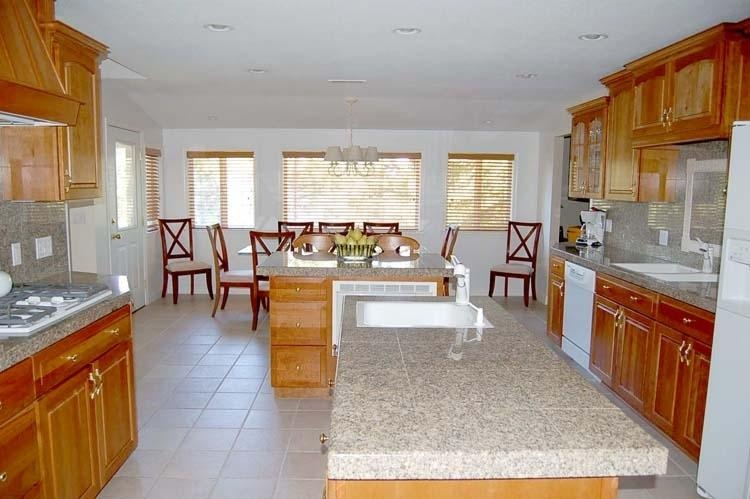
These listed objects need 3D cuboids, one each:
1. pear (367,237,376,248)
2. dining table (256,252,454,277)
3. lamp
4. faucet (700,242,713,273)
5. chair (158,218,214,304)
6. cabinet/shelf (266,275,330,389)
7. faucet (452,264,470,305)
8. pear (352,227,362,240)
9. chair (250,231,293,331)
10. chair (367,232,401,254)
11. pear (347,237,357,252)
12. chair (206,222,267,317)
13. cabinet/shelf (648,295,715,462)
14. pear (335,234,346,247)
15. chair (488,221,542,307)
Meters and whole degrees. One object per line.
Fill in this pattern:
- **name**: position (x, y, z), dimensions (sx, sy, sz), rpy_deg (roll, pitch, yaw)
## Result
- **pear**: position (-0.043, -0.063, 4.623), dimensions (0.099, 0.118, 0.065), rpy_deg (3, -7, -31)
- **dining table**: position (-0.162, 0.121, 4.524), dimensions (1.602, 0.183, 0.694), rpy_deg (-3, 13, -2)
- **lamp**: position (-0.313, -1.563, 6.648), dimensions (0.705, 1.156, 0.839), rpy_deg (8, 13, 34)
- **faucet**: position (2.651, 0.063, 4.125), dimensions (0.056, 0.220, 0.146), rpy_deg (-3, 14, -1)
- **chair**: position (-2.765, 0.137, 7.433), dimensions (0.721, 1.181, 1.004), rpy_deg (-9, 16, -26)
- **cabinet/shelf**: position (-0.612, 0.704, 4.282), dimensions (0.541, 0.989, 0.139), rpy_deg (-2, 15, 0)
- **faucet**: position (0.505, 0.190, 3.019), dimensions (0.086, 0.260, 0.171), rpy_deg (0, 14, 9)
- **pear**: position (-0.170, -0.139, 4.633), dimensions (0.081, 0.105, 0.067), rpy_deg (-6, 8, 14)
- **chair**: position (-1.203, 0.245, 6.309), dimensions (0.665, 1.041, 0.750), rpy_deg (-3, -8, -9)
- **chair**: position (0.098, -0.116, 5.308), dimensions (0.277, 0.334, 0.296), rpy_deg (2, -10, -12)
- **pear**: position (-0.205, -0.037, 4.645), dimensions (0.091, 0.097, 0.088), rpy_deg (0, 1, -11)
- **chair**: position (-1.782, 0.254, 6.751), dimensions (0.788, 1.072, 0.795), rpy_deg (6, 8, 21)
- **cabinet/shelf**: position (2.103, 0.853, 3.559), dimensions (0.152, 0.973, 0.559), rpy_deg (-2, 14, 0)
- **pear**: position (-0.301, -0.086, 4.628), dimensions (0.064, 0.104, 0.082), rpy_deg (-33, 21, -28)
- **chair**: position (1.999, 0.195, 7.370), dimensions (0.665, 1.142, 0.945), rpy_deg (3, 15, 20)
